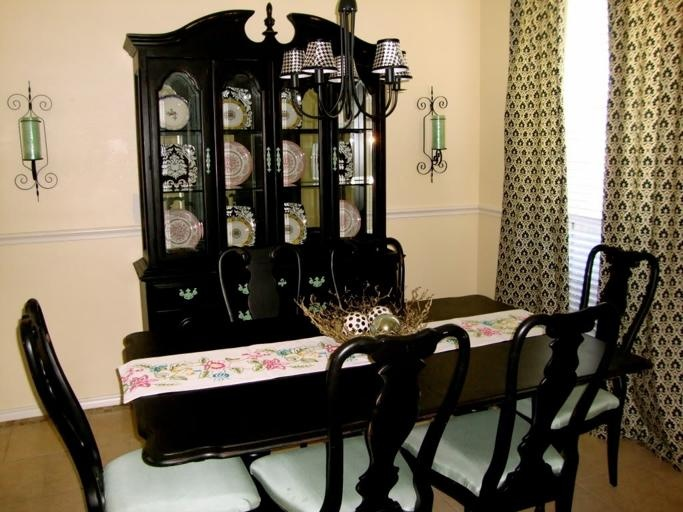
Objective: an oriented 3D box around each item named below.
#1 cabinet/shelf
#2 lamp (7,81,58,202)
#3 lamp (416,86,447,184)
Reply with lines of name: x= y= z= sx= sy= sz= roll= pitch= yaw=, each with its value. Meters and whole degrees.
cabinet/shelf: x=-0.559 y=-0.538 z=3.570 sx=1.875 sy=2.602 sz=0.488 roll=-6 pitch=11 yaw=-26
lamp: x=-1.976 y=-0.727 z=3.639 sx=0.297 sy=0.752 sz=0.183 roll=-8 pitch=15 yaw=-23
lamp: x=0.718 y=-0.966 z=4.531 sx=0.247 sy=0.753 sz=0.267 roll=0 pitch=14 yaw=10
